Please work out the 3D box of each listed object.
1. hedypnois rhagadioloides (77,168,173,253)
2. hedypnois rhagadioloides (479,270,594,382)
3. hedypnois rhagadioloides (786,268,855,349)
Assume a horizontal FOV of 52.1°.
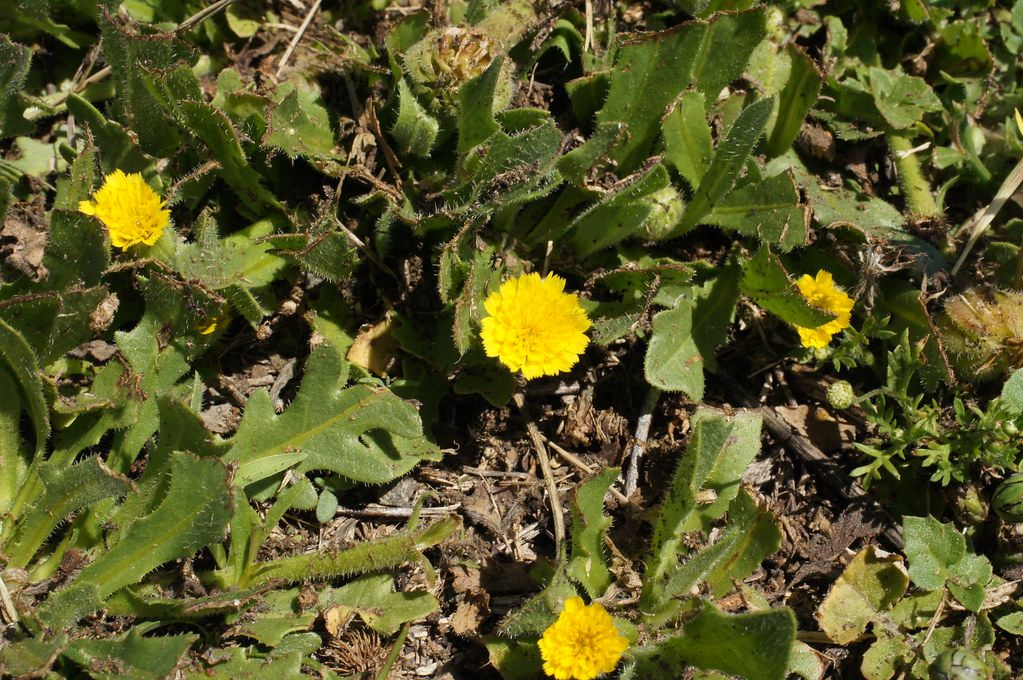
[{"bbox_3d":[-1.564,-0.530,4.307,0.309,0.140,0.358,-17,93,-18],"label":"hedypnois rhagadioloides"},{"bbox_3d":[0.069,-0.041,4.200,0.446,0.451,0.174,35,41,-23],"label":"hedypnois rhagadioloides"},{"bbox_3d":[1.325,-0.130,4.545,0.285,0.142,0.329,22,87,-4],"label":"hedypnois rhagadioloides"}]
